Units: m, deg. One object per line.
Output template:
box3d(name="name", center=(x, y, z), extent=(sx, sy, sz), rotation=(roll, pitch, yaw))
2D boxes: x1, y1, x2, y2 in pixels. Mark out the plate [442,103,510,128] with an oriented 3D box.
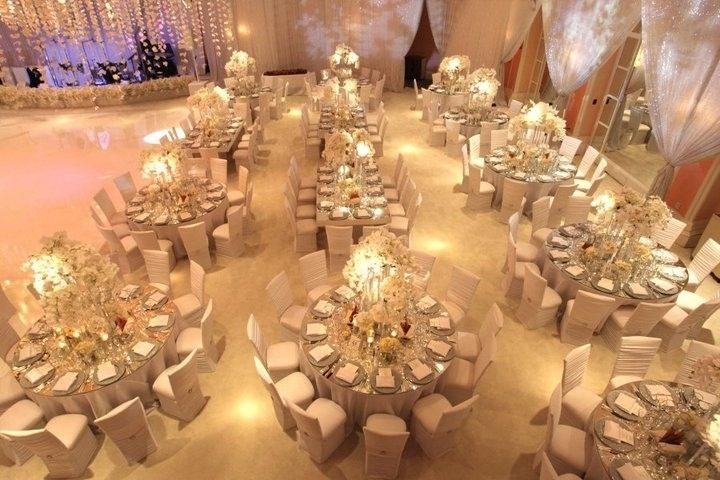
box3d(name="plate", center=(3.896, -4.027, 14.107), extent=(1.246, 0.305, 1.264), rotation=(22, 43, 29))
